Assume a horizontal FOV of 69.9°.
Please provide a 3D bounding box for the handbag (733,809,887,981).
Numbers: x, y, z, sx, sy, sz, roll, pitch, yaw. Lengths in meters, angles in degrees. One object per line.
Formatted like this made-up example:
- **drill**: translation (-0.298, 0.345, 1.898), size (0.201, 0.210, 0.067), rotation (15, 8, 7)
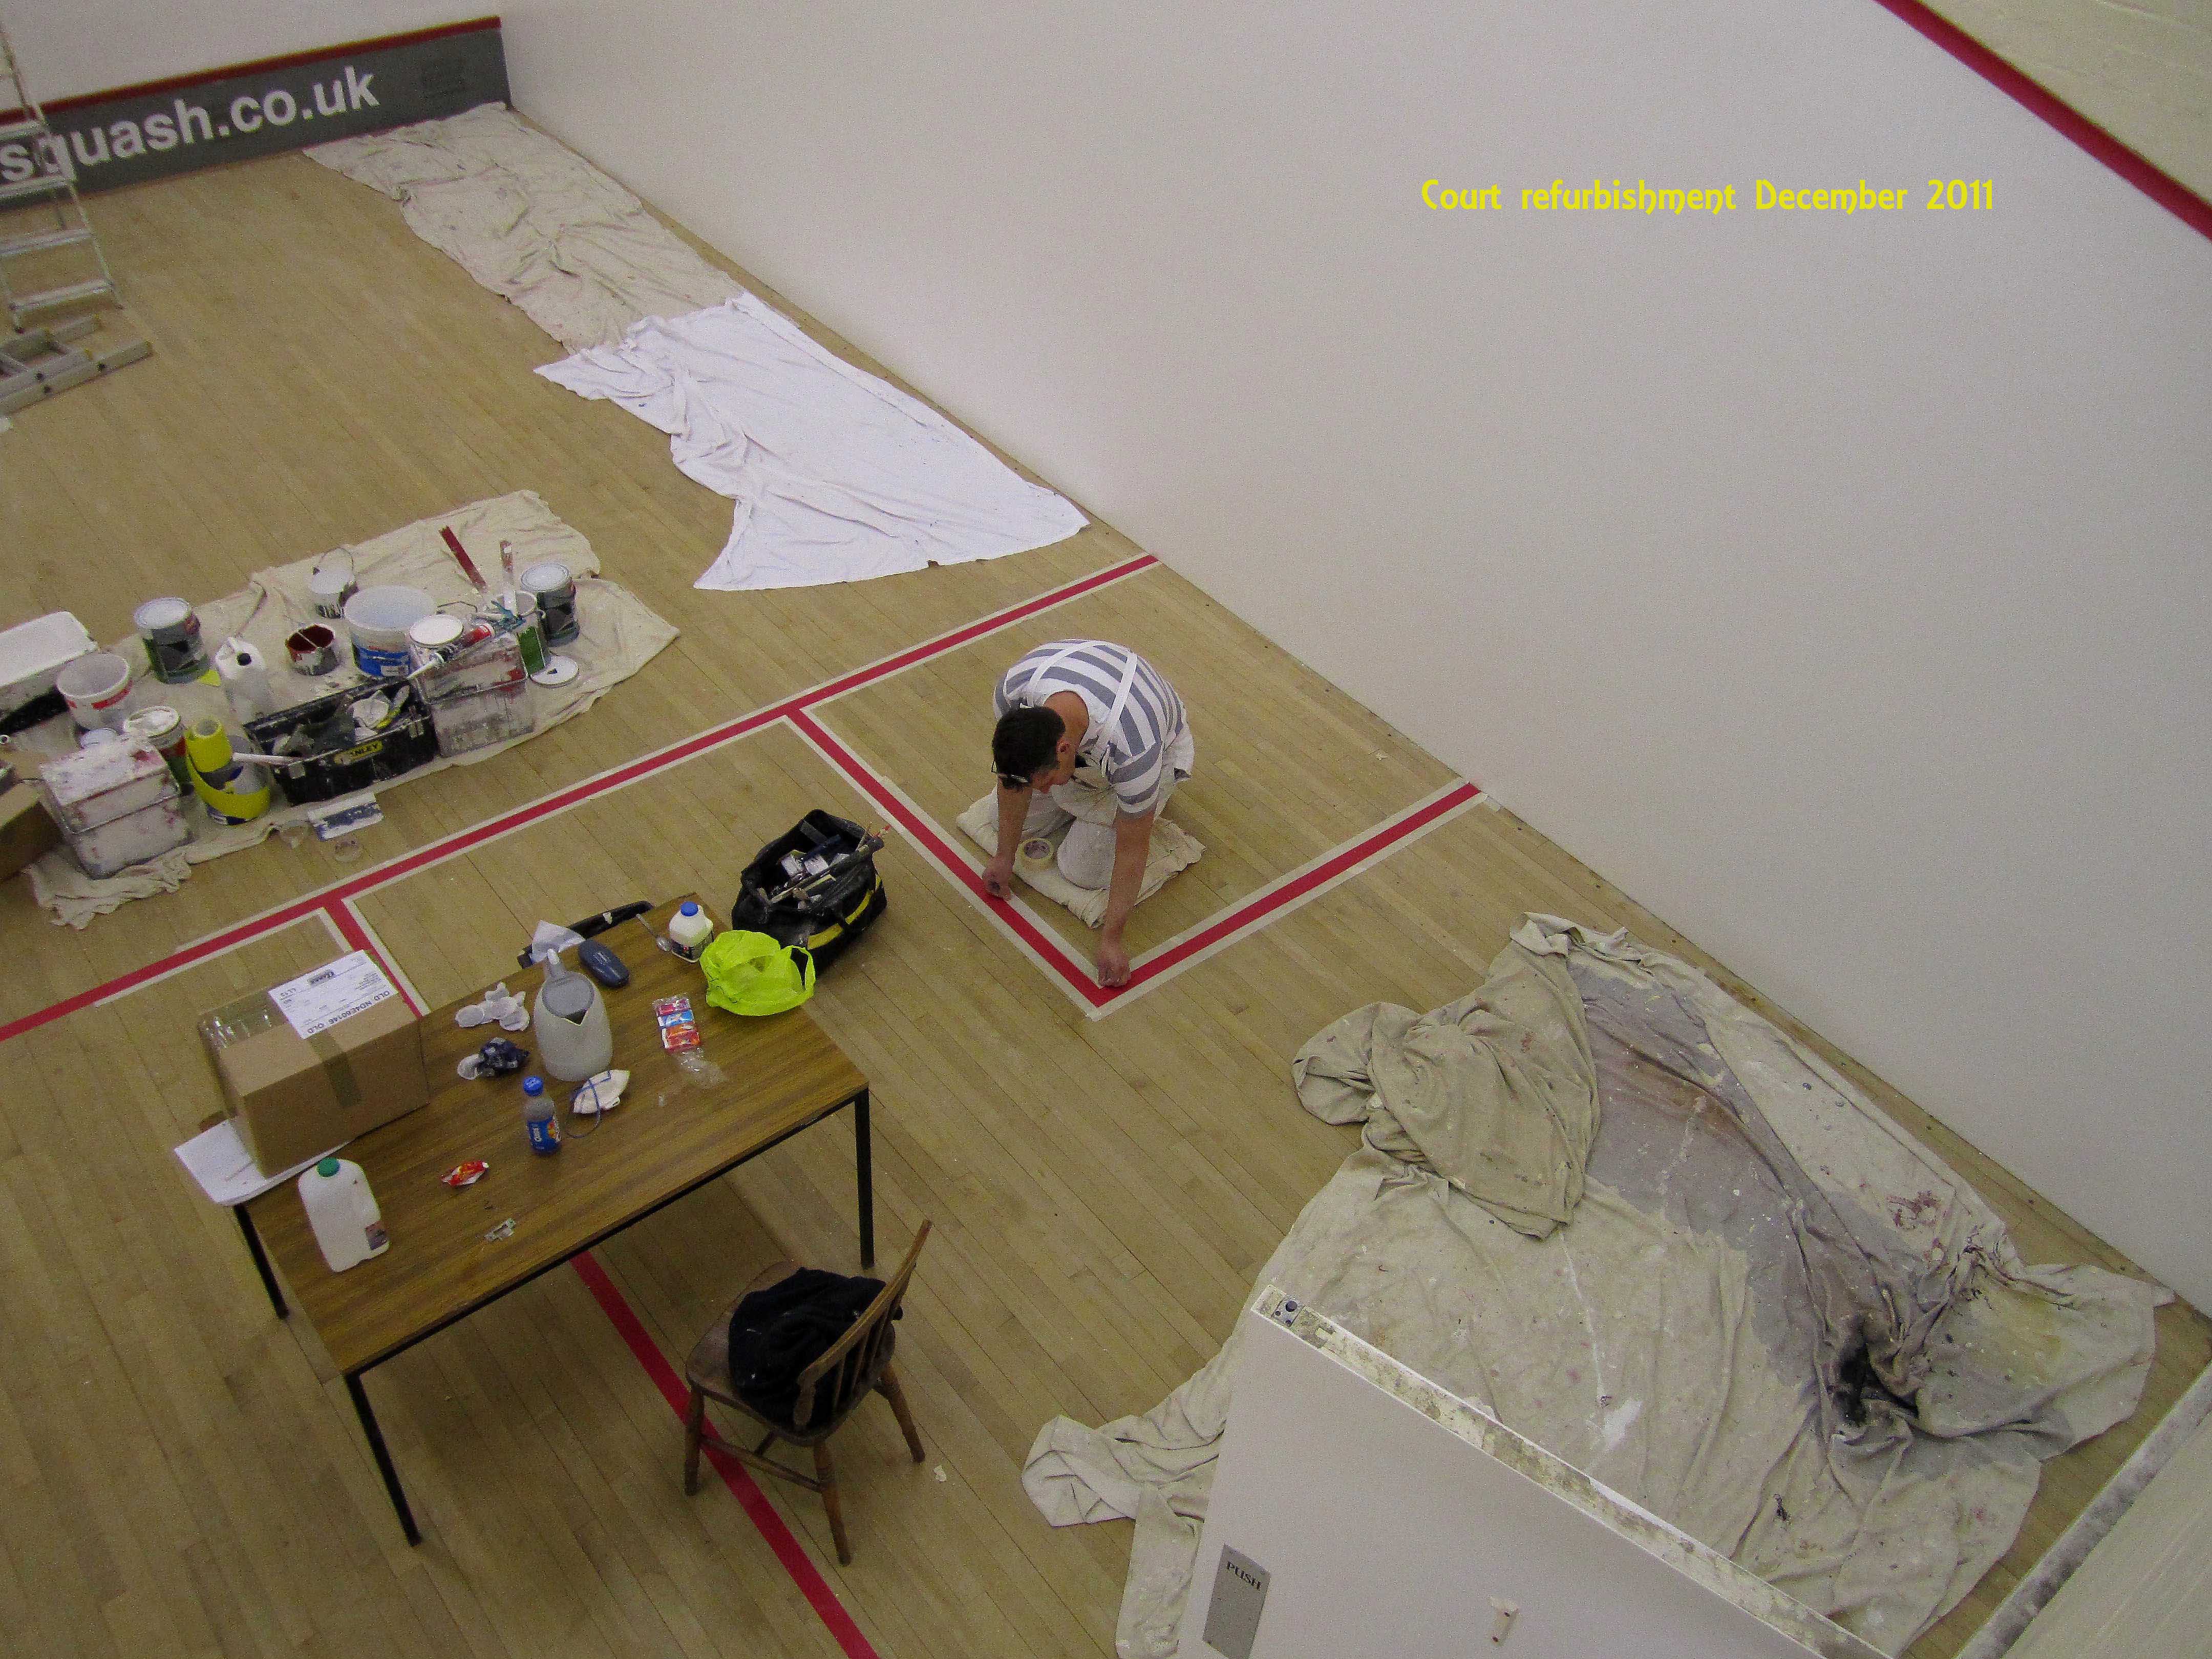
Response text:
- **handbag**: translation (-0.971, 0.195, 5.316), size (0.442, 0.232, 0.515), rotation (39, 68, 10)

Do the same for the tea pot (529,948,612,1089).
- **tea pot**: translation (-1.392, 0.504, 4.106), size (0.138, 0.252, 0.247), rotation (-24, 57, -23)

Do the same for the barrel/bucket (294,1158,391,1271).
- **barrel/bucket**: translation (-1.816, 0.923, 3.754), size (0.115, 0.225, 0.124), rotation (5, 42, -5)

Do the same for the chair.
- **chair**: translation (-0.785, 1.375, 4.027), size (0.585, 0.848, 0.663), rotation (-10, 36, -21)

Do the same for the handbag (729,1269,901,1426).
- **handbag**: translation (-0.759, 1.238, 3.957), size (0.390, 0.255, 0.402), rotation (4, 39, -6)

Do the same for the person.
- **person**: translation (-0.065, -0.003, 5.336), size (0.588, 0.859, 0.735), rotation (33, 82, 10)
